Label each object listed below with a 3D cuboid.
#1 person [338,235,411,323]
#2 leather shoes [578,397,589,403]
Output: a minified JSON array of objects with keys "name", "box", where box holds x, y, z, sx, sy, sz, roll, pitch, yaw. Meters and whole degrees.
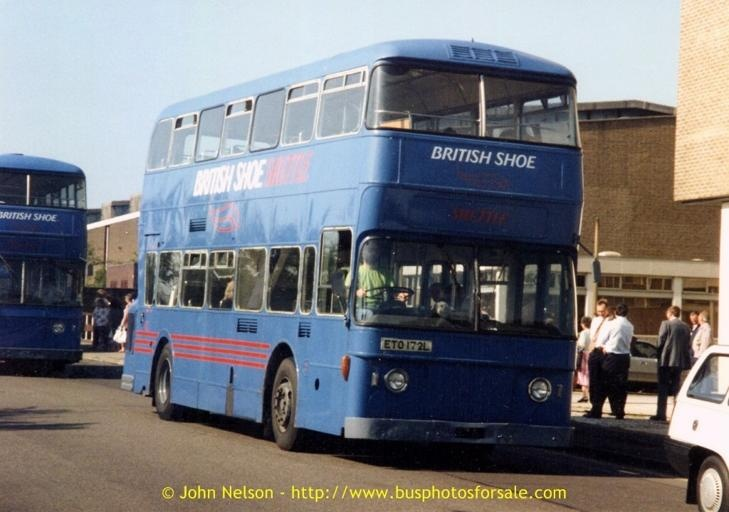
[{"name":"person","box":[0.180,0.332,11.195,0.741,1.123,0.252,3,-6,0]},{"name":"leather shoes","box":[5.443,3.592,20.299,0.336,0.148,0.131,2,-2,10]}]
